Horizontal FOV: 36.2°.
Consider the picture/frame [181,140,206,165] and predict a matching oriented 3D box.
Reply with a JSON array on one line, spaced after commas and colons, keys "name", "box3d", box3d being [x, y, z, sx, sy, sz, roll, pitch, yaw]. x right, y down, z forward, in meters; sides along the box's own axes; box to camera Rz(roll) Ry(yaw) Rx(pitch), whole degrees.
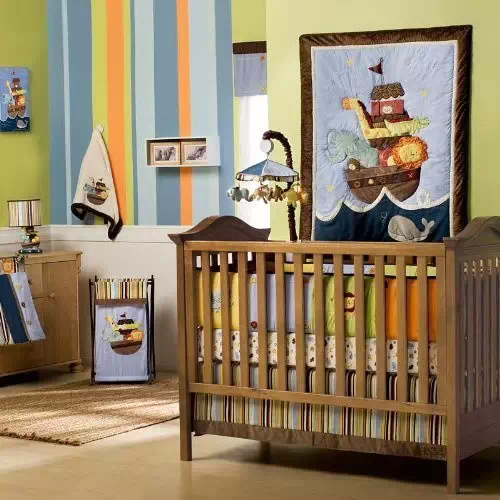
[{"name": "picture/frame", "box3d": [-0.357, -0.597, 4.720, 0.217, 0.153, 0.031, 2, 4, 41]}]

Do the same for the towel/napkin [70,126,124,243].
[{"name": "towel/napkin", "box3d": [-1.039, -0.453, 5.149, 0.351, 0.865, 0.165, 3, 34, -8]}]

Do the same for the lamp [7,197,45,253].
[{"name": "lamp", "box3d": [-1.460, -0.149, 4.863, 0.196, 0.336, 0.402, -2, 3, -17]}]
